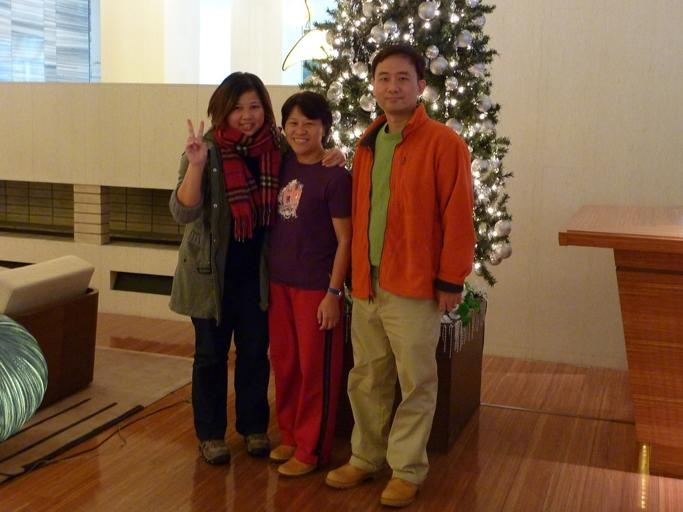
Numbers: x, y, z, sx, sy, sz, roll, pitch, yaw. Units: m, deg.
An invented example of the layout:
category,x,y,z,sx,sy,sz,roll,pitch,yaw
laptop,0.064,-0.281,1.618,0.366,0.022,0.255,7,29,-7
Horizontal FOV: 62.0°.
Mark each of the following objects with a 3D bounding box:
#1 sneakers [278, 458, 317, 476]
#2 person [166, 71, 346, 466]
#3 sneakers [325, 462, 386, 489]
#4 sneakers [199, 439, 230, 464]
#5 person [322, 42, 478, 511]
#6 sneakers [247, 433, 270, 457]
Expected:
category,x,y,z,sx,sy,sz,roll,pitch,yaw
sneakers,-0.244,1.162,3.102,0.160,0.079,0.092,5,-3,-19
person,-0.571,0.082,3.130,0.808,2.165,0.779,0,6,-31
sneakers,0.088,1.136,3.020,0.282,0.151,0.118,0,0,-23
sneakers,-0.720,1.102,3.244,0.080,0.107,0.219,-6,0,-39
person,0.314,0.113,2.859,0.664,2.271,0.429,6,10,29
sneakers,-0.477,1.080,3.303,0.077,0.073,0.157,1,14,-10
